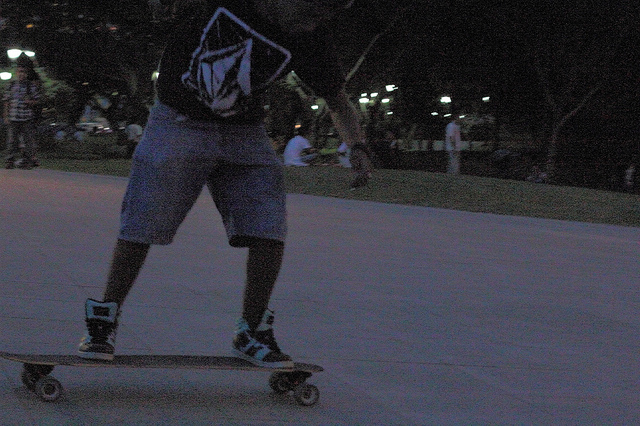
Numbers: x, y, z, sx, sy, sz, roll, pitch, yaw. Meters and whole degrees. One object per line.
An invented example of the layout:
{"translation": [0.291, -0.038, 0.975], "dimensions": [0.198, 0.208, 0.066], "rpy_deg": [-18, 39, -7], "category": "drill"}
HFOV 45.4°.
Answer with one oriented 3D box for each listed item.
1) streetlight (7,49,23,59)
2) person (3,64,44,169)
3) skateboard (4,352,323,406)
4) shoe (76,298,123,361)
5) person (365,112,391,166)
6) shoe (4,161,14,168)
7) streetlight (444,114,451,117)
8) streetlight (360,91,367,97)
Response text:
{"translation": [-5.910, -3.080, 14.722], "dimensions": [0.394, 0.184, 0.174], "rpy_deg": [8, 7, 41], "category": "streetlight"}
{"translation": [-4.699, -1.520, 11.973], "dimensions": [0.533, 1.635, 0.524], "rpy_deg": [4, 9, -18], "category": "person"}
{"translation": [-0.972, 0.987, 4.525], "dimensions": [1.948, 0.150, 0.337], "rpy_deg": [3, 1, -10], "category": "skateboard"}
{"translation": [-1.295, 0.665, 4.452], "dimensions": [0.213, 0.332, 0.251], "rpy_deg": [5, 8, -12], "category": "shoe"}
{"translation": [1.117, -1.368, 13.975], "dimensions": [0.309, 0.816, 0.660], "rpy_deg": [-22, 34, 2], "category": "person"}
{"translation": [-4.938, -0.779, 12.036], "dimensions": [0.126, 0.103, 0.162], "rpy_deg": [2, 6, -18], "category": "shoe"}
{"translation": [2.378, -1.790, 13.934], "dimensions": [0.118, 0.051, 0.031], "rpy_deg": [2, 9, -14], "category": "streetlight"}
{"translation": [0.823, -2.152, 13.727], "dimensions": [0.103, 0.110, 0.087], "rpy_deg": [5, 7, -5], "category": "streetlight"}
